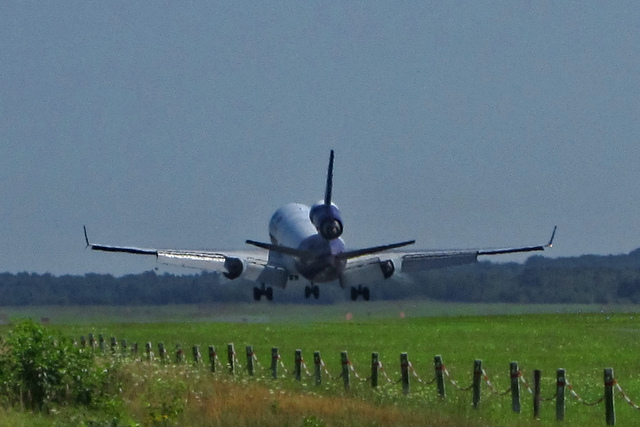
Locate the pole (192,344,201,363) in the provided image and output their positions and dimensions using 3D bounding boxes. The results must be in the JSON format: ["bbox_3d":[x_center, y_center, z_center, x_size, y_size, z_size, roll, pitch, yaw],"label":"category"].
[{"bbox_3d":[-5.964,6.720,64.472,0.294,0.938,0.328,-5,19,-1],"label":"pole"}]

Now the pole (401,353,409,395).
[{"bbox_3d":[3.722,7.091,59.779,0.293,1.805,0.755,-2,-5,2],"label":"pole"}]

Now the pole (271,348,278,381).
[{"bbox_3d":[-2.152,6.962,62.647,0.237,1.407,0.679,-2,-5,-8],"label":"pole"}]

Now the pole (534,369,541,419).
[{"bbox_3d":[9.186,7.669,57.383,0.228,2.024,0.583,-2,-5,-3],"label":"pole"}]

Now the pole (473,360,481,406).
[{"bbox_3d":[6.741,7.319,58.270,0.363,1.970,0.633,-2,-5,-2],"label":"pole"}]

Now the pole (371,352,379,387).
[{"bbox_3d":[2.387,6.987,60.308,0.312,1.541,0.782,-2,-5,-2],"label":"pole"}]

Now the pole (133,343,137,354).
[{"bbox_3d":[-9.250,6.687,66.943,0.196,0.497,0.465,-2,-5,-6],"label":"pole"}]

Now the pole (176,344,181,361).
[{"bbox_3d":[-6.879,6.698,65.267,0.170,0.723,0.692,-2,-5,-7],"label":"pole"}]

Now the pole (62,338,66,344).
[{"bbox_3d":[-11.081,5.480,58.204,0.231,0.186,0.072,0,19,31],"label":"pole"}]

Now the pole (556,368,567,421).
[{"bbox_3d":[10.131,7.668,56.929,0.417,2.180,0.787,-3,-5,9],"label":"pole"}]
